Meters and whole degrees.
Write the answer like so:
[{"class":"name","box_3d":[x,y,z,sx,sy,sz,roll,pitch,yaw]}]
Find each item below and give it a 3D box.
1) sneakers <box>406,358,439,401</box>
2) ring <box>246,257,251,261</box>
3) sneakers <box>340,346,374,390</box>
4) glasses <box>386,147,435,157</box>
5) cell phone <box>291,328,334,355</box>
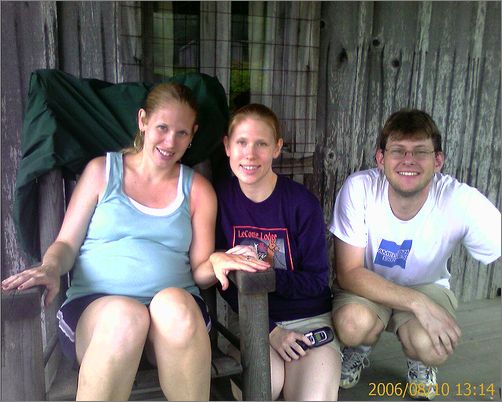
[{"class":"sneakers","box_3d":[0.907,0.942,2.587,0.087,0.117,0.259,-5,8,11]},{"class":"ring","box_3d":[-0.010,0.247,2.104,0.021,0.005,0.065,-3,5,-3]},{"class":"sneakers","box_3d":[0.572,0.891,2.650,0.120,0.318,0.137,10,-4,10]},{"class":"glasses","box_3d":[0.823,-0.251,2.525,0.233,0.058,0.060,-1,6,17]},{"class":"cell phone","box_3d":[0.293,0.647,2.270,0.172,0.084,0.043,-8,-28,-23]}]
